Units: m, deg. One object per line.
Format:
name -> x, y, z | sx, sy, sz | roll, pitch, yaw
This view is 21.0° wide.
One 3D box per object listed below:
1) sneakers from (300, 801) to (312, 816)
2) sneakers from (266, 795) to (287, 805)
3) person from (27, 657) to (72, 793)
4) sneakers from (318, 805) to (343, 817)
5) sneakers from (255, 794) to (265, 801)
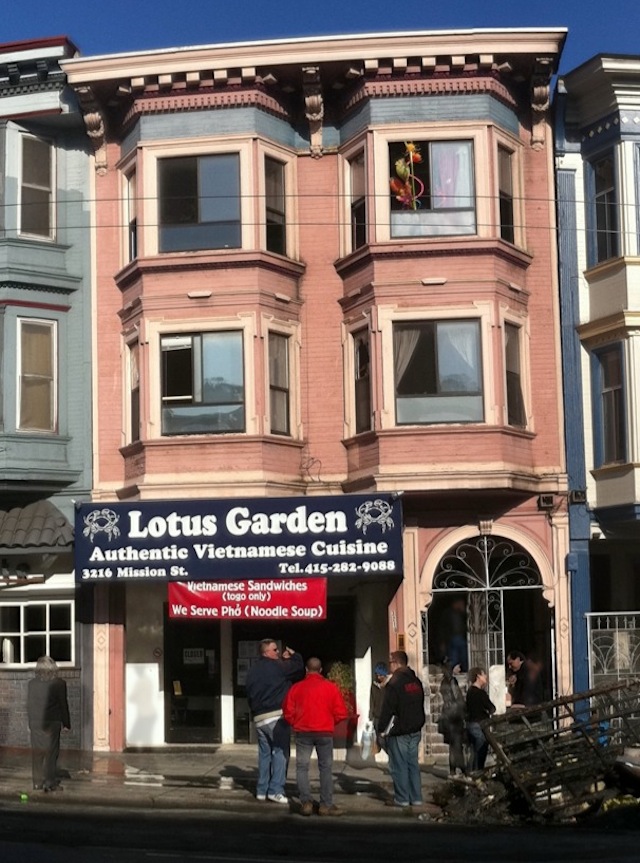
sneakers -> -0.138, 4.091, 18.781 | 0.111, 0.168, 0.158 | 14, -20, -38
sneakers -> -0.477, 4.143, 19.447 | 0.233, 0.107, 0.079 | -5, -9, 44
person -> -3.269, 3.513, 20.789 | 0.477, 1.610, 0.753 | 0, -11, -10
sneakers -> 0.123, 4.116, 18.750 | 0.258, 0.123, 0.094 | -1, -4, -10
sneakers -> -0.675, 4.162, 19.667 | 0.130, 0.104, 0.076 | 1, 0, 7
